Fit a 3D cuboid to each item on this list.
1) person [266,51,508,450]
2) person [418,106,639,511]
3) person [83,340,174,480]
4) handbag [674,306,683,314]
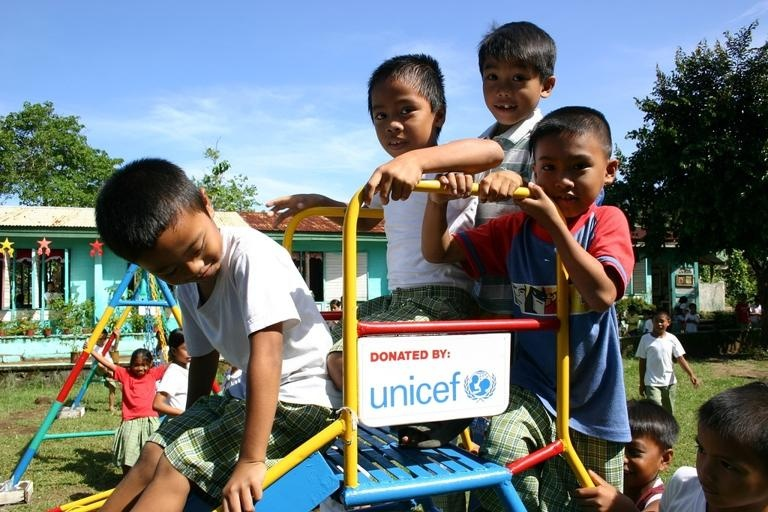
[{"bbox_3d":[-0.003,-0.074,3.787,0.926,2.098,1.560,7,-7,-41],"label":"person"},{"bbox_3d":[0.761,0.281,3.377,0.925,2.073,0.661,-2,-2,19],"label":"person"},{"bbox_3d":[-2.731,1.598,7.046,1.267,1.553,0.507,5,-25,-30],"label":"person"},{"bbox_3d":[8.952,1.656,20.488,0.176,0.189,0.219,3,-4,-28],"label":"handbag"}]
